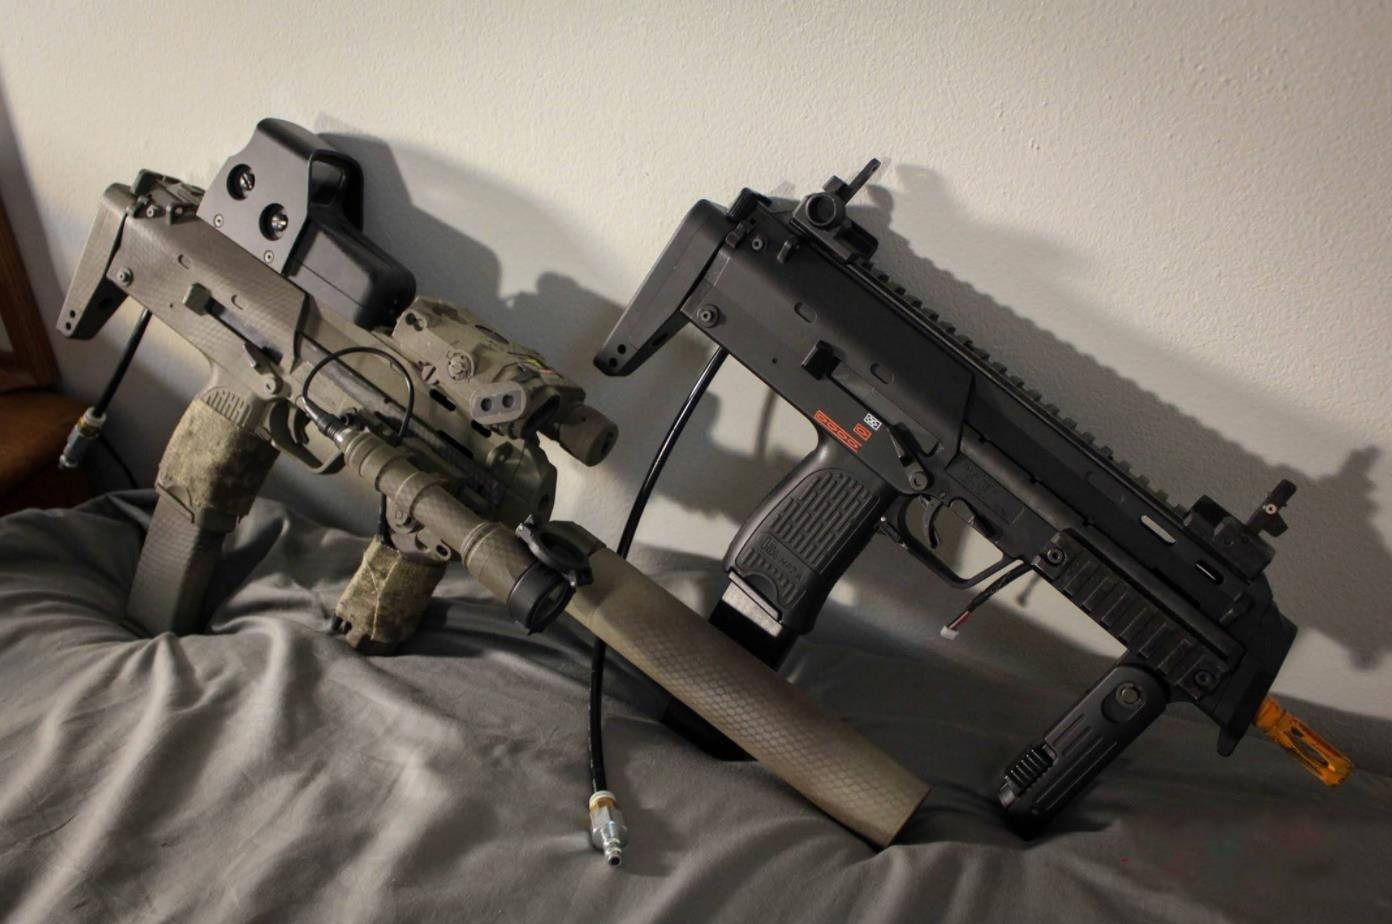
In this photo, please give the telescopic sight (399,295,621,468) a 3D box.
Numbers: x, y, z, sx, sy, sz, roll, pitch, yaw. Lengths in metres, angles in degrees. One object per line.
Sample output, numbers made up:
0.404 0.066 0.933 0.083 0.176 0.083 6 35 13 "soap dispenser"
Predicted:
-0.411 -0.172 2.366 0.450 0.128 0.290 34 18 7 "telescopic sight"
